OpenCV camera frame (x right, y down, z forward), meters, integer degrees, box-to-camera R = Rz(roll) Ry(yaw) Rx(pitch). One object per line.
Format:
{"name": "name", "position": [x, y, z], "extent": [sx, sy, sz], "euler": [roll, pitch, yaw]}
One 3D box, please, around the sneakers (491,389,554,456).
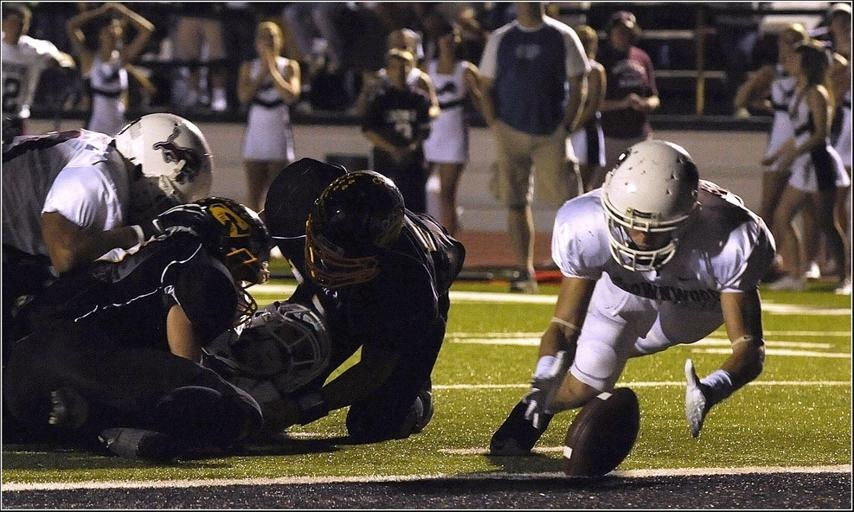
{"name": "sneakers", "position": [0.482, 0.846, 6.519], "extent": [0.205, 0.355, 0.128], "euler": [49, -5, 1]}

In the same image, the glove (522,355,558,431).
{"name": "glove", "position": [0.570, 0.666, 6.423], "extent": [0.195, 0.386, 0.072], "euler": [4, 8, 4]}
